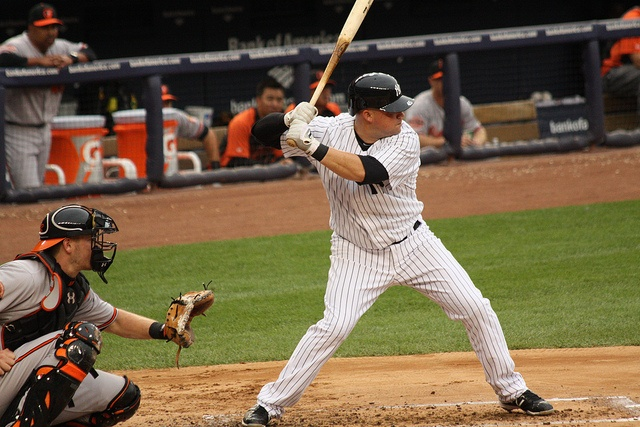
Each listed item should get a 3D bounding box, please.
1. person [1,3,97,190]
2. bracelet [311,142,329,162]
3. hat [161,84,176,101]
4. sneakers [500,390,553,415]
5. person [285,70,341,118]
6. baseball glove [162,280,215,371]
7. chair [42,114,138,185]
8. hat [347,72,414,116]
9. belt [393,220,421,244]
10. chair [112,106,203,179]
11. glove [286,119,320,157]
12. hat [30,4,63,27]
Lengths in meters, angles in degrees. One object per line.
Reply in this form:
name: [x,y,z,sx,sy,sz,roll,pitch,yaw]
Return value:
person: [-3.096,-1.294,13.004,0.929,1.988,0.375,-6,4,-12]
bracelet: [-0.011,-0.515,10.060,0.137,0.106,0.136,-51,-6,-25]
hat: [-1.721,-1.366,13.253,0.125,0.189,0.202,-4,4,8]
sneakers: [1.857,1.653,10.368,0.486,0.213,0.188,-2,3,20]
person: [-0.079,-1.454,13.825,0.791,0.355,0.379,8,4,-39]
baseball glove: [-1.176,0.966,10.306,0.328,0.643,0.415,0,-39,35]
chair: [-2.703,-0.701,13.542,0.939,0.851,0.613,-6,11,-32]
hat: [0.502,-1.038,10.180,0.484,0.239,0.336,-5,19,6]
belt: [0.772,0.151,10.291,0.210,0.053,0.220,-39,6,26]
chair: [-1.876,-0.744,13.596,0.751,0.861,1.107,-13,-7,41]
glove: [-0.147,-0.632,10.095,0.360,0.195,0.161,29,-26,-15]
hat: [-3.016,-2.154,12.846,0.230,0.170,0.316,-10,13,-40]
